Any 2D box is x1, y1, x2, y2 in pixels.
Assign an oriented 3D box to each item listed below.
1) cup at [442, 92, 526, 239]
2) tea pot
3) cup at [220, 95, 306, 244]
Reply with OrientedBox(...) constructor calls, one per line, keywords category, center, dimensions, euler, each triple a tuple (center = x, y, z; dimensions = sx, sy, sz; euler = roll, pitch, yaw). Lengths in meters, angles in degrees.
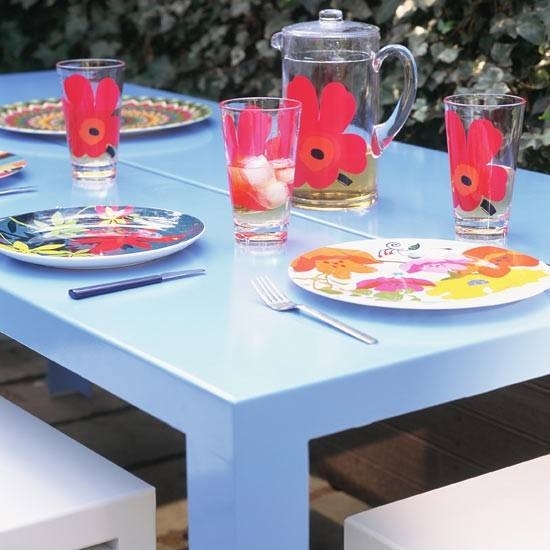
OrientedBox(category="cup", center=(0.222, -0.122, 0.733), dimensions=(0.106, 0.153, 0.092), euler=(-14, 28, -28))
OrientedBox(category="tea pot", center=(0.087, -0.213, 0.857), dimensions=(0.166, 0.252, 0.163), euler=(-1, 25, 0))
OrientedBox(category="cup", center=(-0.022, -0.113, 0.680), dimensions=(0.082, 0.141, 0.097), euler=(-12, 22, -28))
